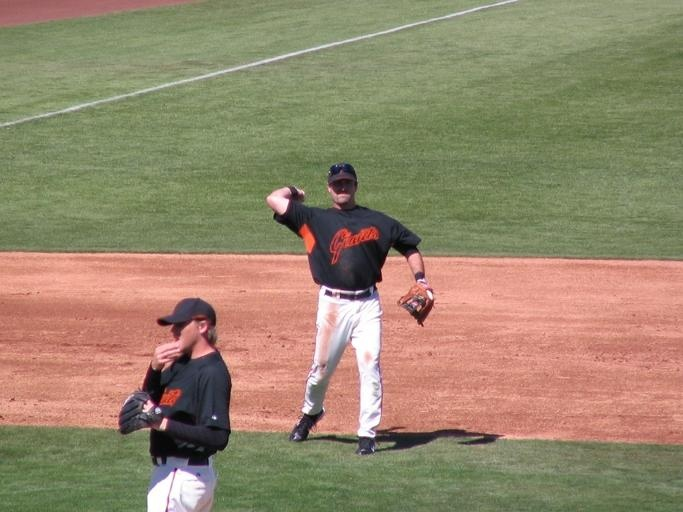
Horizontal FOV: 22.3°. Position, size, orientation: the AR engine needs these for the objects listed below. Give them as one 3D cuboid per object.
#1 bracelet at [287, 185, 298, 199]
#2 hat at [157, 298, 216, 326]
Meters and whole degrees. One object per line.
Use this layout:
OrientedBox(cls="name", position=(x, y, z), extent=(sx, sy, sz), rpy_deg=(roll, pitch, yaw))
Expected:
OrientedBox(cls="bracelet", position=(-0.869, -1.137, 31.218), extent=(0.089, 0.208, 0.166), rpy_deg=(-24, 14, 3))
OrientedBox(cls="hat", position=(-2.606, 0.938, 29.157), extent=(0.810, 0.359, 0.475), rpy_deg=(3, -3, -5))
